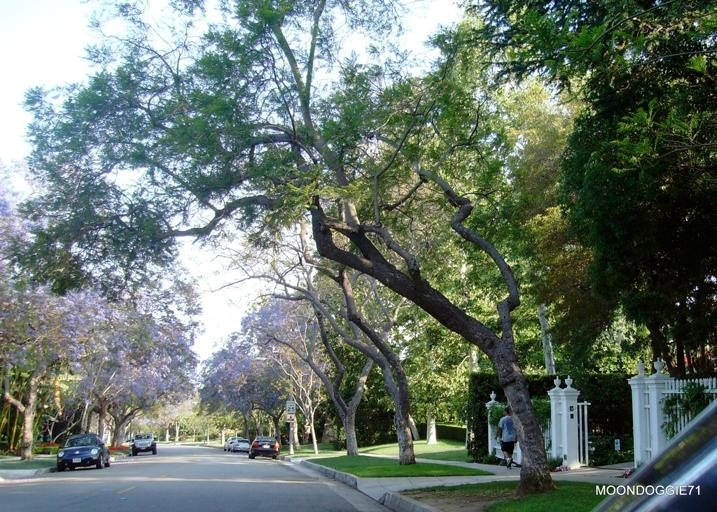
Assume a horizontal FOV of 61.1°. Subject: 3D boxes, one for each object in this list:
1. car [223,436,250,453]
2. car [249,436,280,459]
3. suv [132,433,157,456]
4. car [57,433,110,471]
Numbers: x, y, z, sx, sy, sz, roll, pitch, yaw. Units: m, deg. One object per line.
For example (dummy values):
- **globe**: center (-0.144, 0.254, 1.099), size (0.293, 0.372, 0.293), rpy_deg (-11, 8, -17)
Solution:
- **car**: center (-12.719, 19.790, 64.085), size (1.432, 1.639, 7.047), rpy_deg (5, -19, -18)
- **car**: center (-6.813, 13.656, 43.549), size (1.816, 1.538, 2.252), rpy_deg (4, -19, -15)
- **suv**: center (-18.318, 15.942, 51.948), size (1.504, 1.381, 2.867), rpy_deg (-1, -22, -8)
- **car**: center (-12.789, 9.139, 28.635), size (1.447, 1.083, 2.521), rpy_deg (0, -21, -9)
